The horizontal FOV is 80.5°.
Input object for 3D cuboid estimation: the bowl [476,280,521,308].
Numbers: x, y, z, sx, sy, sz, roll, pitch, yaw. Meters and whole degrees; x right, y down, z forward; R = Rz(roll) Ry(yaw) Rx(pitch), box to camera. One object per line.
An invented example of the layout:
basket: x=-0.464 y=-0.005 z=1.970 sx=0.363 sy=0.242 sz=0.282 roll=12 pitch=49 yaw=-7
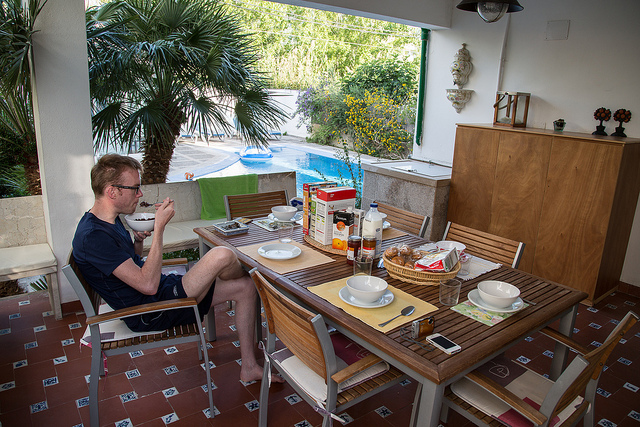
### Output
bowl: x=1.046 y=0.467 z=2.236 sx=0.174 sy=0.071 sz=0.176 roll=-1 pitch=24 yaw=0

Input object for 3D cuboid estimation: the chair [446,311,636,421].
chair: x=1.298 y=0.918 z=2.220 sx=0.598 sy=0.744 sz=0.536 roll=-22 pitch=37 yaw=-28

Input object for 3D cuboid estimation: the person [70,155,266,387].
person: x=-0.995 y=0.452 z=2.721 sx=1.203 sy=1.651 sz=0.778 roll=-7 pitch=15 yaw=0

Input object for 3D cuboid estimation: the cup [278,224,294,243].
cup: x=-0.281 y=0.160 z=3.041 sx=0.125 sy=0.131 sz=0.125 roll=0 pitch=9 yaw=0

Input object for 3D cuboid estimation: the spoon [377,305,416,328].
spoon: x=0.431 y=0.565 z=2.087 sx=0.293 sy=0.040 sz=0.058 roll=-12 pitch=20 yaw=-37

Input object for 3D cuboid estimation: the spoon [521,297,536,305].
spoon: x=1.255 y=0.531 z=2.275 sx=0.093 sy=0.017 sz=0.011 roll=24 pitch=34 yaw=30

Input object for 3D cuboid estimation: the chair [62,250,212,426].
chair: x=-1.169 y=0.784 z=2.475 sx=0.735 sy=1.133 sz=0.593 roll=-8 pitch=19 yaw=-22

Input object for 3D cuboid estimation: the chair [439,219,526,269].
chair: x=1.381 y=0.251 z=3.113 sx=0.489 sy=0.307 sz=0.196 roll=25 pitch=21 yaw=38

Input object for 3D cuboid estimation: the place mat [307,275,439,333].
place mat: x=0.304 y=0.510 z=2.241 sx=0.655 sy=0.081 sz=0.418 roll=13 pitch=21 yaw=39

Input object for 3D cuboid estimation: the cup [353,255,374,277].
cup: x=0.278 y=0.335 z=2.438 sx=0.130 sy=0.118 sz=0.115 roll=4 pitch=12 yaw=21

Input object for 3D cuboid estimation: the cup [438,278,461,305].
cup: x=0.799 y=0.488 z=2.315 sx=0.178 sy=0.148 sz=0.137 roll=15 pitch=-18 yaw=-38

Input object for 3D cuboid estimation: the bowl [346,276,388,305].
bowl: x=0.274 y=0.446 z=2.229 sx=0.178 sy=0.079 sz=0.176 roll=0 pitch=18 yaw=0

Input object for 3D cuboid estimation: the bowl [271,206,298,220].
bowl: x=-0.304 y=-0.017 z=3.212 sx=0.140 sy=0.060 sz=0.135 roll=0 pitch=18 yaw=0

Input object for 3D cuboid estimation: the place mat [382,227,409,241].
place mat: x=0.569 y=0.162 z=3.065 sx=0.246 sy=0.028 sz=0.173 roll=-12 pitch=20 yaw=-37

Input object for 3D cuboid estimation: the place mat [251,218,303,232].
place mat: x=-0.361 y=0.090 z=3.193 sx=0.425 sy=0.049 sz=0.251 roll=-2 pitch=16 yaw=-8

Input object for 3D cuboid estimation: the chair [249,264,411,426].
chair: x=0.081 y=0.778 z=2.240 sx=0.658 sy=0.887 sz=0.718 roll=-16 pitch=33 yaw=-32
